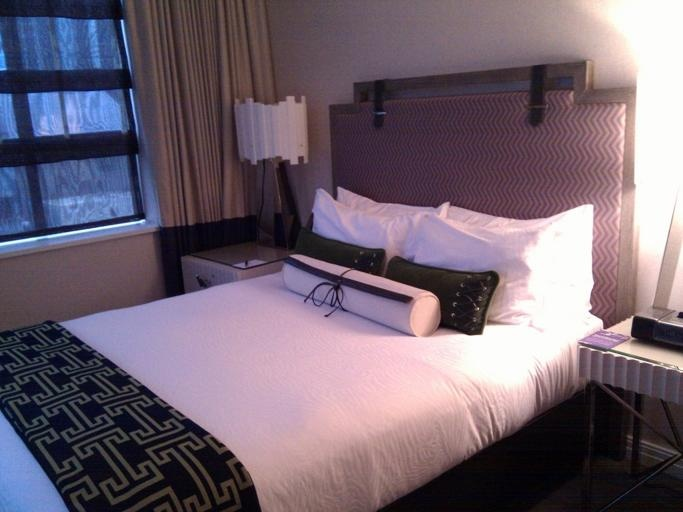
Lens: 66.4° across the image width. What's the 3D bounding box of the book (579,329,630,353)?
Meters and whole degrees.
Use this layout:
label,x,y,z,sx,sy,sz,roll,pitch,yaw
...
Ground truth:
label,x,y,z,sx,sy,sz,roll,pitch,yaw
book,1.115,0.353,2.201,0.129,0.015,0.093,-13,18,-40
